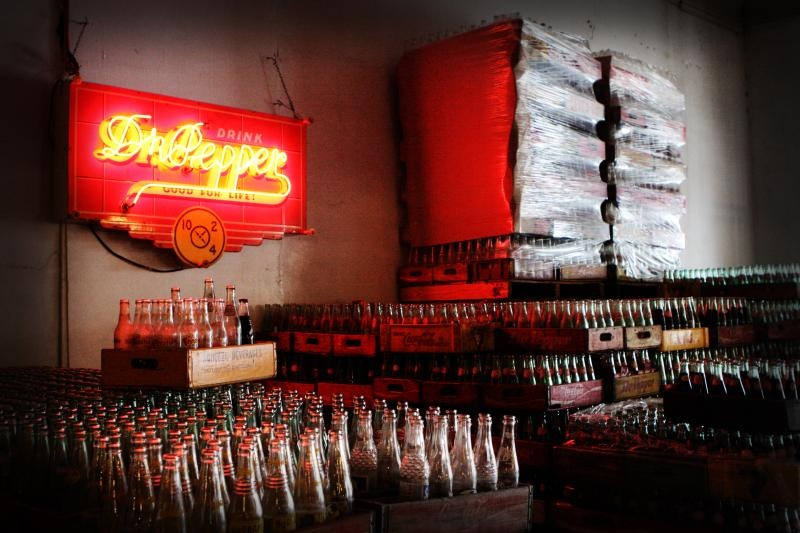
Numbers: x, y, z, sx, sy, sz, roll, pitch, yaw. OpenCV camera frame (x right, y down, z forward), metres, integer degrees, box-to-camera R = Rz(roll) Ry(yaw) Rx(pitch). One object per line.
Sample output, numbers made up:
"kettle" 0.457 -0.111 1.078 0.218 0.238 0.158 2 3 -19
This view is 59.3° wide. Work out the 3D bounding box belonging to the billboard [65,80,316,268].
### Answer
"billboard" -1.860 -0.783 6.440 0.255 1.466 2.477 6 5 38
